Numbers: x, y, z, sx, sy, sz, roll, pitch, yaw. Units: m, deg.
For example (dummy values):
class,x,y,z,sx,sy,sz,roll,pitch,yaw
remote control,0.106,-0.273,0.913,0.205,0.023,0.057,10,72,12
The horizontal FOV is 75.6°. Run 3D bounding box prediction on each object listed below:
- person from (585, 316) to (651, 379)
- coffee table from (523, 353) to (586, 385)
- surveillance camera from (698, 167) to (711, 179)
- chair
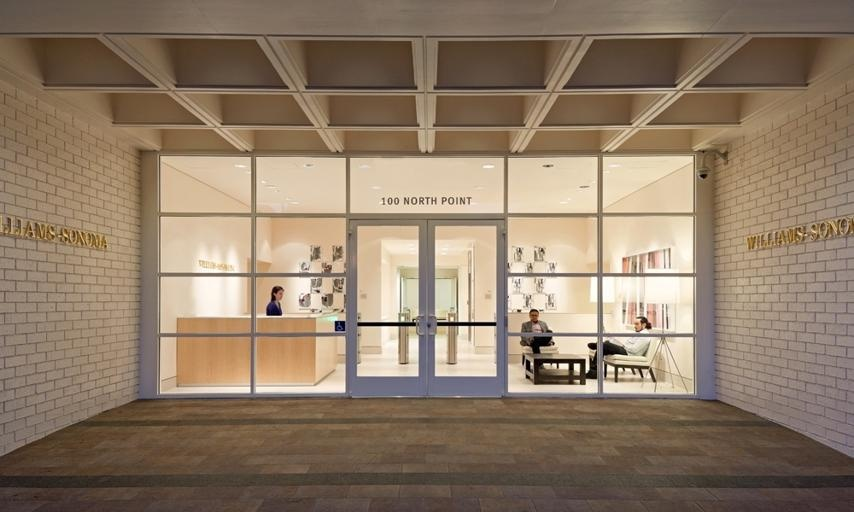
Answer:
class,x,y,z,sx,sy,sz,roll,pitch,yaw
person,3.819,1.829,11.106,1.288,1.285,0.633,12,-6,-10
coffee table,2.571,2.214,10.975,0.943,0.348,0.799,0,-1,-4
surveillance camera,5.295,-1.585,10.567,0.253,0.202,0.229,-2,-4,14
chair,3.341,1.916,11.032,2.154,1.041,1.040,1,-5,3
